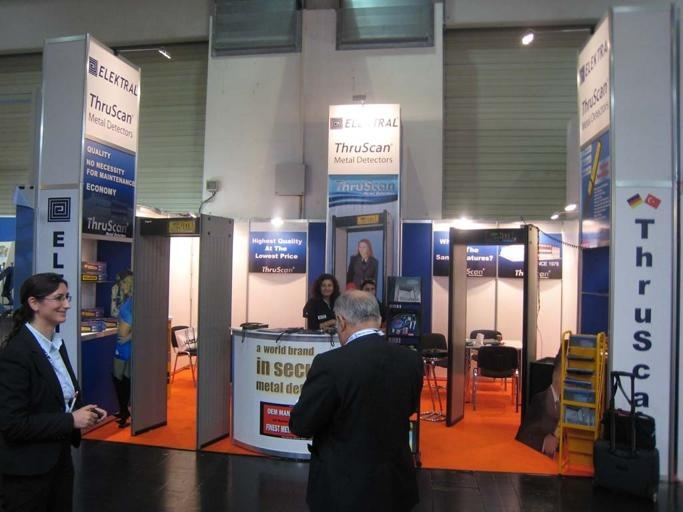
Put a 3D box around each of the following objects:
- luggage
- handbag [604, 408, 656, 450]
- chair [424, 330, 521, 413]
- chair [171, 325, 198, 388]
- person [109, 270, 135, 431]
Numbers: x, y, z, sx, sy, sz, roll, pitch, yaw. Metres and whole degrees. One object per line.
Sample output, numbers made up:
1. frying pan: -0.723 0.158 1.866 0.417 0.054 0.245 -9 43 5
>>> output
1. luggage: 2.962 1.846 6.596 0.606 1.266 0.246 0 -2 24
2. handbag: 3.009 1.826 6.620 0.416 0.421 0.185 1 0 32
3. chair: 1.940 1.620 9.122 0.927 0.925 1.345 0 -5 -1
4. chair: -2.271 1.466 9.512 0.560 0.817 0.570 -4 -1 -3
5. person: -2.739 1.154 7.873 0.219 1.918 0.757 1 -2 -20
